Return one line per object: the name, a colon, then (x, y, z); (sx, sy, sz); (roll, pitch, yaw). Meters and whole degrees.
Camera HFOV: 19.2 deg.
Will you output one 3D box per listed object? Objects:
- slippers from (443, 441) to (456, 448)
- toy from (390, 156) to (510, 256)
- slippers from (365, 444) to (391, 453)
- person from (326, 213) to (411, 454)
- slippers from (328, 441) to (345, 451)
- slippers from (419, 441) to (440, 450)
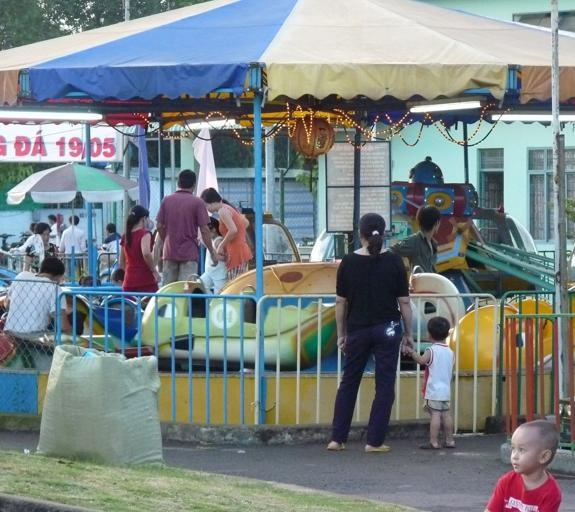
slippers: (1.670, 1.928, 17.529); (0.127, 0.074, 0.055); (2, -2, 8)
toy: (2.023, -0.771, 23.074); (1.181, 1.095, 1.149); (1, -4, 0)
slippers: (0.917, 1.951, 17.350); (0.210, 0.123, 0.099); (-2, -3, -14)
person: (0.838, 0.760, 17.282); (0.847, 2.441, 0.393); (0, 0, 0)
slippers: (0.500, 1.918, 17.363); (0.156, 0.088, 0.080); (8, -6, 22)
slippers: (1.462, 1.951, 17.500); (0.150, 0.081, 0.093); (4, -12, 8)
